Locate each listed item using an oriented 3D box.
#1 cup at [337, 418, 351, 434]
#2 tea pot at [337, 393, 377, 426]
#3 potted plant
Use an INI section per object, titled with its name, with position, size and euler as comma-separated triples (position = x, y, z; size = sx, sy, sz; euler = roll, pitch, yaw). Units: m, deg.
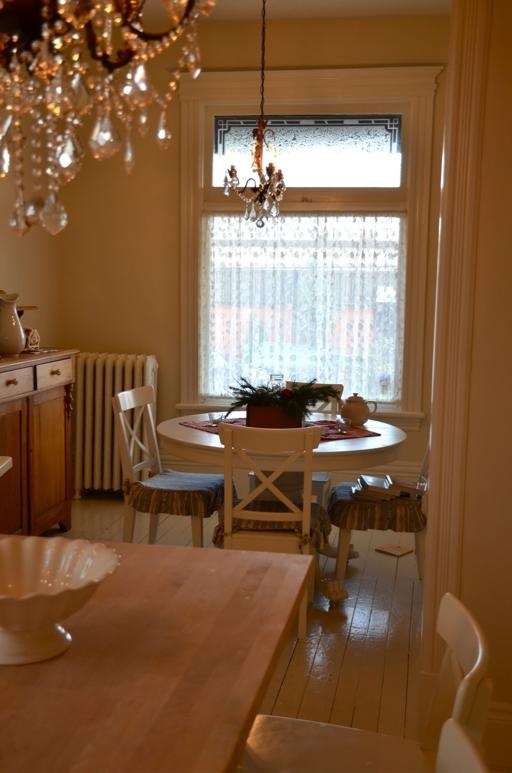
[cup]
position = 0.486, 0.219, 3.248
size = 0.062, 0.069, 0.061
euler = 0, 9, 0
[tea pot]
position = 0.591, 0.139, 3.420
size = 0.205, 0.200, 0.161
euler = 1, -3, 7
[potted plant]
position = 0.126, 0.086, 2.981
size = 0.419, 0.226, 0.420
euler = 9, 3, 43
